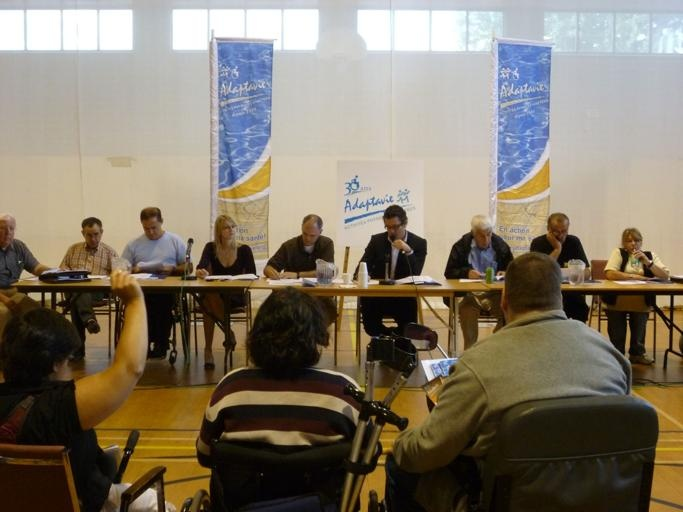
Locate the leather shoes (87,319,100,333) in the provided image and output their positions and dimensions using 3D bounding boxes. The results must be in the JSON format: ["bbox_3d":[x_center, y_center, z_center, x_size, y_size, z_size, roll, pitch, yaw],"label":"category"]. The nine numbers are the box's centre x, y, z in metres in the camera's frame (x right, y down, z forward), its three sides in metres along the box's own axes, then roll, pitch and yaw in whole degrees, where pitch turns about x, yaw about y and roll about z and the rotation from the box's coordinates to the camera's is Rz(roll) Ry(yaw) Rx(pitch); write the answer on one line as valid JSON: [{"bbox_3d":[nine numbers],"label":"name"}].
[{"bbox_3d":[-2.060,0.585,5.479,0.081,0.142,0.134,-2,6,-9],"label":"leather shoes"}]

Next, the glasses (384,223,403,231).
[{"bbox_3d":[0.433,-0.246,5.424,0.144,0.073,0.124,-1,4,3],"label":"glasses"}]

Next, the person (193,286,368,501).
[{"bbox_3d":[-0.319,0.668,3.253,0.673,1.317,0.718,5,34,-2],"label":"person"}]

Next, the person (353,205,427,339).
[{"bbox_3d":[0.390,0.228,5.654,0.651,1.288,0.583,-1,6,-16],"label":"person"}]

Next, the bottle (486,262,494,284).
[{"bbox_3d":[1.191,0.143,5.293,0.054,0.156,0.165,1,-3,14],"label":"bottle"}]

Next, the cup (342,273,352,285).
[{"bbox_3d":[0.038,0.183,5.107,0.055,0.067,0.088,-2,-7,3],"label":"cup"}]

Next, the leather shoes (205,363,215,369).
[{"bbox_3d":[-1.094,0.912,5.439,0.042,0.032,0.111,1,0,-9],"label":"leather shoes"}]

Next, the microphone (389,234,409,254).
[{"bbox_3d":[0.476,-0.091,5.434,0.109,0.049,0.141,30,0,-9],"label":"microphone"}]

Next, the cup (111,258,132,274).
[{"bbox_3d":[-1.621,0.071,4.845,0.086,0.110,0.121,0,-30,-9],"label":"cup"}]

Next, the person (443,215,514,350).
[{"bbox_3d":[1.209,0.307,5.704,0.618,1.216,0.661,0,1,6],"label":"person"}]

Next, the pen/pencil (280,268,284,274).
[{"bbox_3d":[-0.518,0.134,5.808,0.031,0.029,0.008,3,-20,-30],"label":"pen/pencil"}]

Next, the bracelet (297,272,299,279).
[{"bbox_3d":[-0.373,0.166,5.624,0.030,0.059,0.032,0,40,-4],"label":"bracelet"}]

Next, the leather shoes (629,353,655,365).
[{"bbox_3d":[2.546,0.877,5.609,0.206,0.097,0.083,0,-1,14],"label":"leather shoes"}]

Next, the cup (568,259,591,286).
[{"bbox_3d":[1.918,0.134,5.266,0.192,0.226,0.194,0,-3,0],"label":"cup"}]
